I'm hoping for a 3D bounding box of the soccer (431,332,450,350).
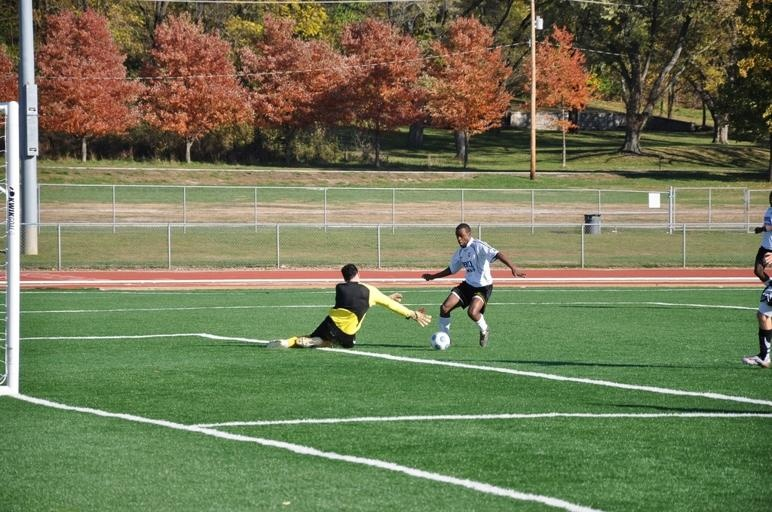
[{"bbox_3d":[2.175,3.383,56.550,0.782,0.682,0.726,6,-5,-16],"label":"soccer"}]
